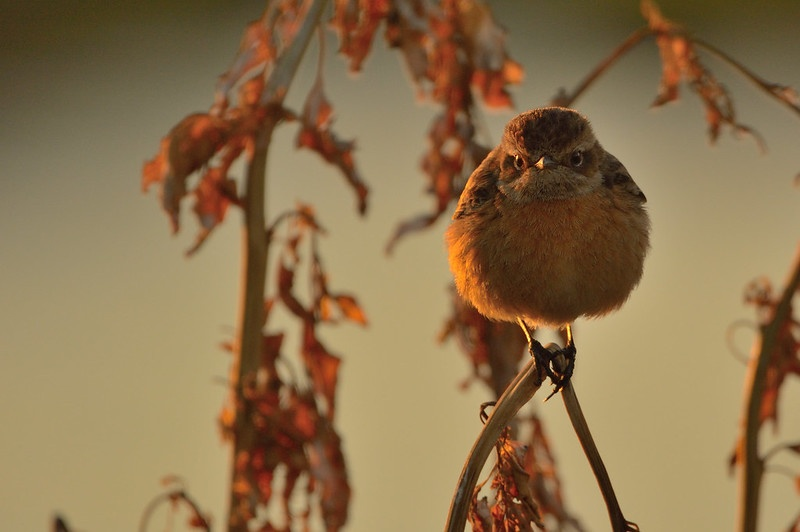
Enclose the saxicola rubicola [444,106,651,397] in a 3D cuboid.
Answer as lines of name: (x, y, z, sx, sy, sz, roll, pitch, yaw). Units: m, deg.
saxicola rubicola: (0.327, -0.073, 3.532, 0.437, 0.445, 0.648, 7, -75, 40)
